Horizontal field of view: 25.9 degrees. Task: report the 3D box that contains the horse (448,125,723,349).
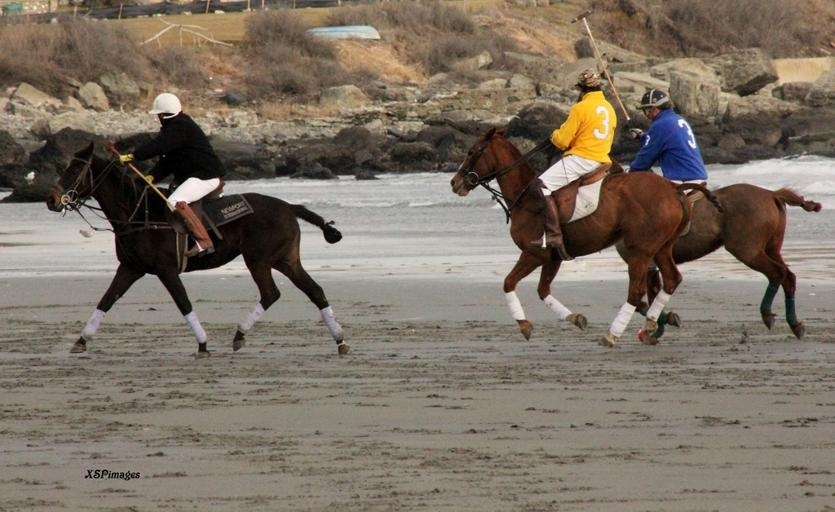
[{"bbox_3d":[7.181,-0.276,76.488,14.495,8.247,3.679,4,7,23],"label":"horse"}]
